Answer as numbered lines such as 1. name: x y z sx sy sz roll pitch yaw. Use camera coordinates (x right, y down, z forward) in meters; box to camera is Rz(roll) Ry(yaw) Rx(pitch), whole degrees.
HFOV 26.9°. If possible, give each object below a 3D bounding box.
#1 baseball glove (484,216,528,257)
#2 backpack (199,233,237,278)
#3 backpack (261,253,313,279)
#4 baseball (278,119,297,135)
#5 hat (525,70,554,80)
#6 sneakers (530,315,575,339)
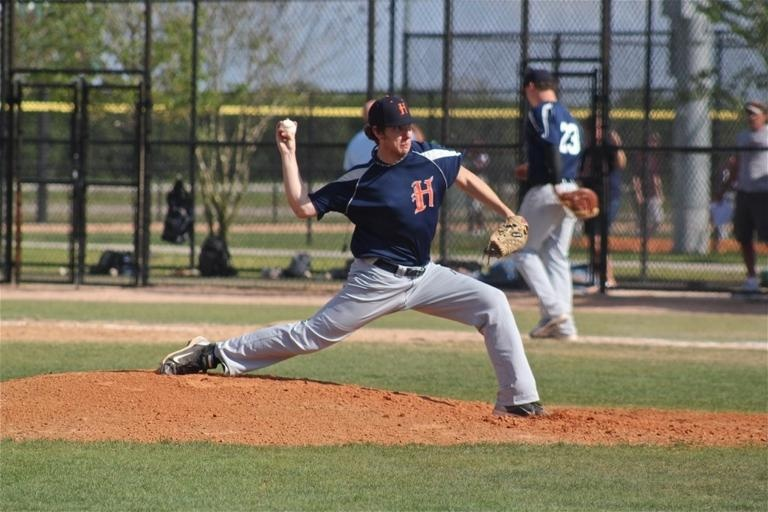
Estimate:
1. baseball glove: 1.406 -0.216 17.992 0.558 0.346 0.171 -48 24 -24
2. backpack: -2.306 0.041 22.309 0.452 0.598 0.533 -3 9 -17
3. backpack: -1.301 0.173 22.978 0.894 0.449 0.289 3 -4 -15
4. baseball: -1.034 -1.431 17.453 0.172 0.112 0.154 21 -34 -31
5. hat: 1.970 -2.261 20.208 0.216 0.109 0.180 -2 9 6
6. sneakers: 2.070 0.895 19.821 0.404 0.232 0.274 -7 -4 34
